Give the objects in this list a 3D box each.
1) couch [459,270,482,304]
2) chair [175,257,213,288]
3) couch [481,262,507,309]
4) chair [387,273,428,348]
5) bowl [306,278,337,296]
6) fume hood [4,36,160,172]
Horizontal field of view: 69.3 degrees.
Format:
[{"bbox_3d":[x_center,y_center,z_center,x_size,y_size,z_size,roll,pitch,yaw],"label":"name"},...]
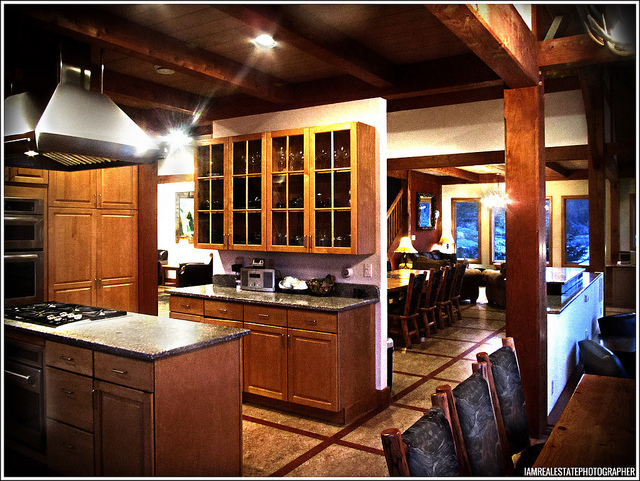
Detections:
[{"bbox_3d":[3.294,1.027,10.289,0.584,0.721,1.023,-2,-4,35],"label":"couch"},{"bbox_3d":[-3.031,0.855,11.564,0.902,0.984,0.876,0,-6,-7],"label":"chair"},{"bbox_3d":[3.654,0.998,9.736,0.656,0.777,1.105,-1,-4,34],"label":"couch"},{"bbox_3d":[1.224,0.980,6.557,0.475,1.051,0.551,2,4,23],"label":"chair"},{"bbox_3d":[0.007,0.472,4.694,0.305,0.157,0.169,2,4,29],"label":"bowl"},{"bbox_3d":[-1.976,-1.079,3.617,1.044,0.923,0.892,4,5,40],"label":"fume hood"}]
